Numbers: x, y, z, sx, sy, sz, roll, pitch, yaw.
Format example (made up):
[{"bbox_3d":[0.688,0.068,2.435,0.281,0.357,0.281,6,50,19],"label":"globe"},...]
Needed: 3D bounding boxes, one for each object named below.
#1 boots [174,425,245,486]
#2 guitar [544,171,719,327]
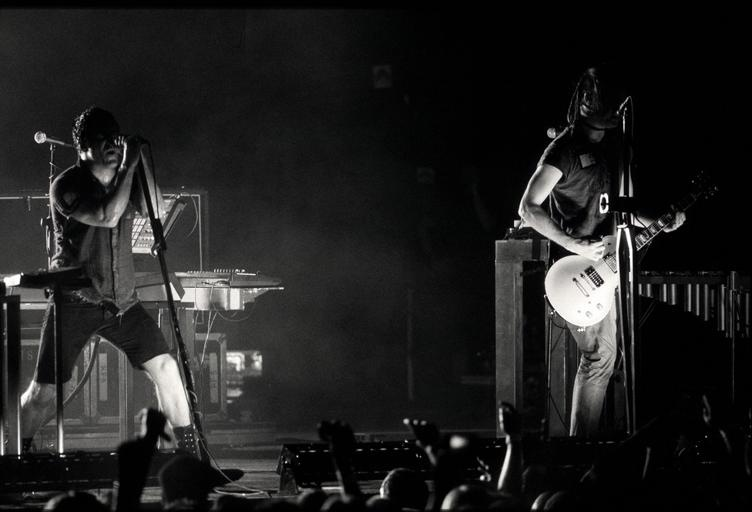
[{"bbox_3d":[-1.085,1.310,8.933,0.315,0.468,0.138,11,-33,-42],"label":"boots"},{"bbox_3d":[1.808,-0.038,9.443,1.459,0.518,0.157,-35,-1,-11],"label":"guitar"}]
